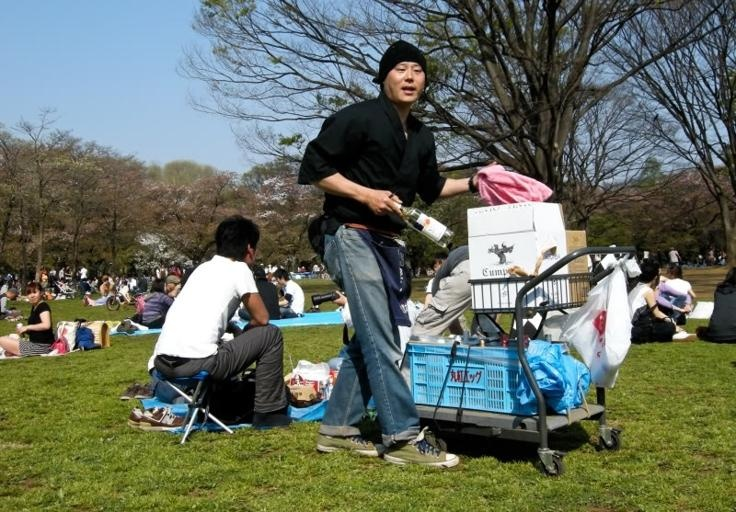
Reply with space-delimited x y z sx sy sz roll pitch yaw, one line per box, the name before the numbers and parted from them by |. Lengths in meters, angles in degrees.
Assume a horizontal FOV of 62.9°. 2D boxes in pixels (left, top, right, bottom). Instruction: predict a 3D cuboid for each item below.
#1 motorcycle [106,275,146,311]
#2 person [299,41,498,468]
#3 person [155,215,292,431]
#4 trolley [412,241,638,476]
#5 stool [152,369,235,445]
motorcycle | -8.933 1.389 22.225 1.033 1.004 1.597 -5 -5 38
person | 0.066 -0.040 4.612 1.154 3.193 0.713 -2 4 -7
person | -1.263 0.611 5.286 1.112 1.950 0.841 1 -1 -29
trolley | 1.351 0.601 5.349 2.040 1.777 1.469 3 1 20
stool | -1.535 1.251 5.411 0.660 0.835 0.543 1 2 -34
